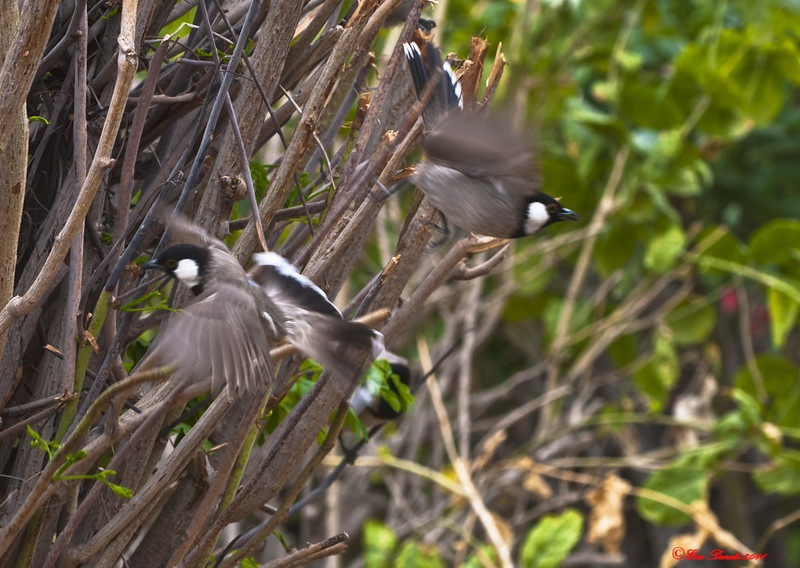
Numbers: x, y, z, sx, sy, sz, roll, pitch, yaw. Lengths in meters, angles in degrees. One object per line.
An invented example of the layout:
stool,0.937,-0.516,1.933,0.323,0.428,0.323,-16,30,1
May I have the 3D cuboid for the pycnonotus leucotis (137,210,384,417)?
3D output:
pycnonotus leucotis,-0.344,0.105,2.788,0.469,0.202,0.485,19,47,-4
